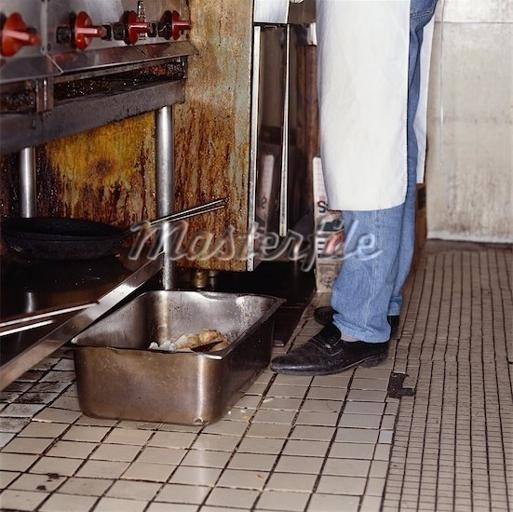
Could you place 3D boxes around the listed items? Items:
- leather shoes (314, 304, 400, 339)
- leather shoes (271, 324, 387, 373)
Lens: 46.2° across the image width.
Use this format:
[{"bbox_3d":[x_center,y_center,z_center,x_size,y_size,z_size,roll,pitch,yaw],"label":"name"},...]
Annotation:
[{"bbox_3d":[0.363,0.230,2.290,0.330,0.137,0.118,9,11,18],"label":"leather shoes"},{"bbox_3d":[0.222,0.284,1.964,0.391,0.147,0.132,-2,6,-12],"label":"leather shoes"}]
